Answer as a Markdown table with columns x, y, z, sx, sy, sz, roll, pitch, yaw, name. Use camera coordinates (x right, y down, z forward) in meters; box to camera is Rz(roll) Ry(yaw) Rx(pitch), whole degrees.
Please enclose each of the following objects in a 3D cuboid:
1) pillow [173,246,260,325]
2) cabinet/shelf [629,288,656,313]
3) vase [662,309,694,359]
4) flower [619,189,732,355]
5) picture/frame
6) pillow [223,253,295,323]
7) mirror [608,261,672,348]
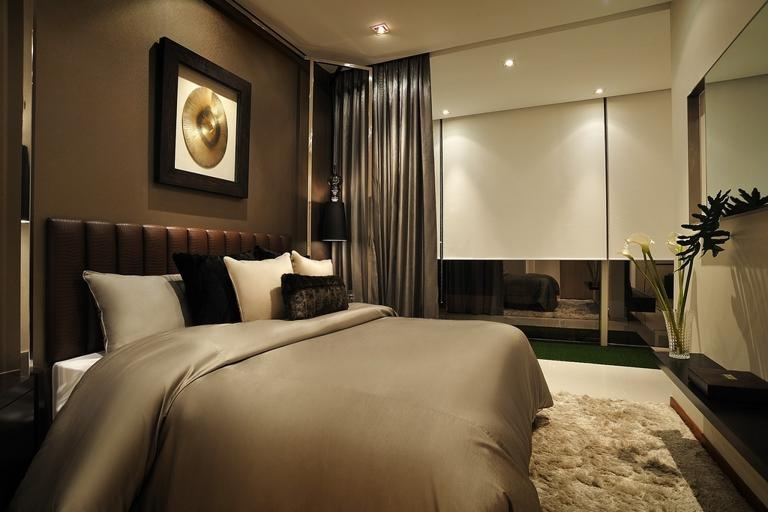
| x | y | z | sx | sy | sz | roll | pitch | yaw | name |
| --- | --- | --- | --- | --- | --- | --- | --- | --- | --- |
| -1.253 | 0.241 | 3.781 | 0.370 | 0.757 | 0.658 | -9 | -12 | -8 | pillow |
| 2.778 | 0.500 | 5.397 | 0.325 | 0.271 | 0.181 | -3 | -5 | 42 | cabinet/shelf |
| 2.015 | 0.532 | 3.431 | 0.241 | 0.313 | 0.263 | -1 | -9 | 15 | vase |
| 2.030 | 0.137 | 3.518 | 0.636 | 1.070 | 0.525 | -1 | 9 | 42 | flower |
| -1.451 | -1.081 | 4.034 | 0.229 | 1.154 | 0.913 | 11 | 13 | 34 | picture/frame |
| -0.891 | 0.241 | 3.533 | 0.132 | 0.351 | 0.396 | -6 | 1 | 37 | pillow |
| 2.650 | 0.468 | 5.164 | 0.216 | 0.725 | 0.732 | -8 | 10 | 10 | mirror |
